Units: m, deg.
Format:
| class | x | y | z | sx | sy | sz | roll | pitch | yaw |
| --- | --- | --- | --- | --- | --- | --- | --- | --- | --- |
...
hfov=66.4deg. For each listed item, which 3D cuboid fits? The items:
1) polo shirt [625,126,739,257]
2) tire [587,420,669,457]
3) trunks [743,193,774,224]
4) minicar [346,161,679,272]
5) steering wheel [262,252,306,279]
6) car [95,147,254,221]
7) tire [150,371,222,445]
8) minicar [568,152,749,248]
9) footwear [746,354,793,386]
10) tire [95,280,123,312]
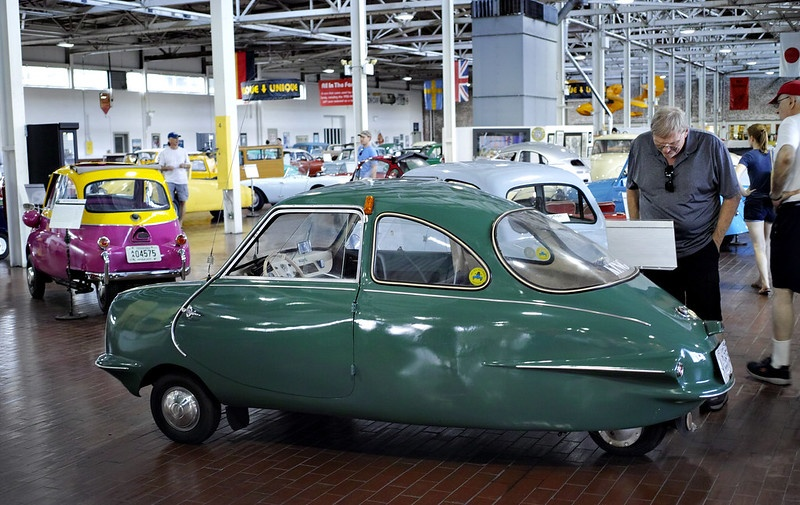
| class | x | y | z | sx | sy | sz | roll | pitch | yaw |
| --- | --- | --- | --- | --- | --- | --- | --- | --- | --- |
| polo shirt | 2.784 | -0.618 | 6.165 | 1.071 | 1.188 | 0.650 | 5 | 7 | 40 |
| tire | 1.972 | 1.662 | 5.349 | 0.649 | 0.209 | 0.637 | 5 | -18 | -19 |
| trunks | 5.717 | -0.712 | 9.766 | 0.604 | 0.551 | 0.352 | 0 | 5 | -18 |
| minicar | 1.947 | -0.599 | 8.273 | 2.375 | 1.120 | 1.314 | -9 | -17 | 28 |
| steering wheel | -1.059 | 0.129 | 5.431 | 0.234 | 0.120 | 0.256 | 8 | 9 | -1 |
| car | -7.129 | -1.792 | 19.792 | 2.763 | 1.990 | 4.623 | -22 | -7 | 33 |
| tire | -1.966 | 1.413 | 5.622 | 0.668 | 0.685 | 0.283 | -6 | 5 | 17 |
| minicar | 5.364 | -0.816 | 12.742 | 4.062 | 2.275 | 2.447 | 2 | 8 | 16 |
| footwear | 3.877 | 1.254 | 6.494 | 0.483 | 0.232 | 0.182 | 8 | 11 | 44 |
| tire | -4.094 | 0.601 | 8.603 | 0.238 | 0.618 | 0.600 | 1 | 0 | -29 |
